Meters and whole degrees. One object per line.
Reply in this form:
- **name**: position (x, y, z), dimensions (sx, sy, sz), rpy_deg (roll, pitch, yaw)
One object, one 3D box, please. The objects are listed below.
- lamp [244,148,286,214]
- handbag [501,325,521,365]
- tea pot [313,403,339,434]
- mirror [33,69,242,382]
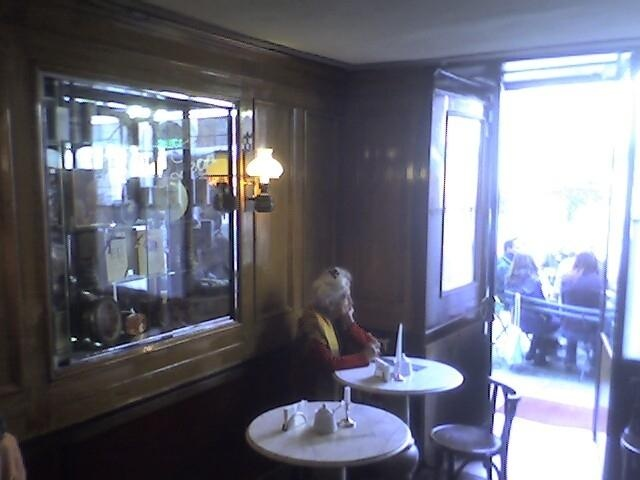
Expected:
- **lamp**: position (-0.412, -0.433, 4.059), dimensions (0.227, 0.473, 0.164), rpy_deg (3, 8, 28)
- **handbag**: position (1.504, 0.827, 4.421), dimensions (0.196, 0.296, 0.075), rpy_deg (5, 17, 23)
- **tea pot**: position (0.045, 1.063, 3.419), dimensions (0.136, 0.165, 0.145), rpy_deg (-1, 8, 0)
- **mirror**: position (-1.175, -0.105, 3.480), dimensions (0.018, 2.074, 1.876), rpy_deg (1, 6, 33)
